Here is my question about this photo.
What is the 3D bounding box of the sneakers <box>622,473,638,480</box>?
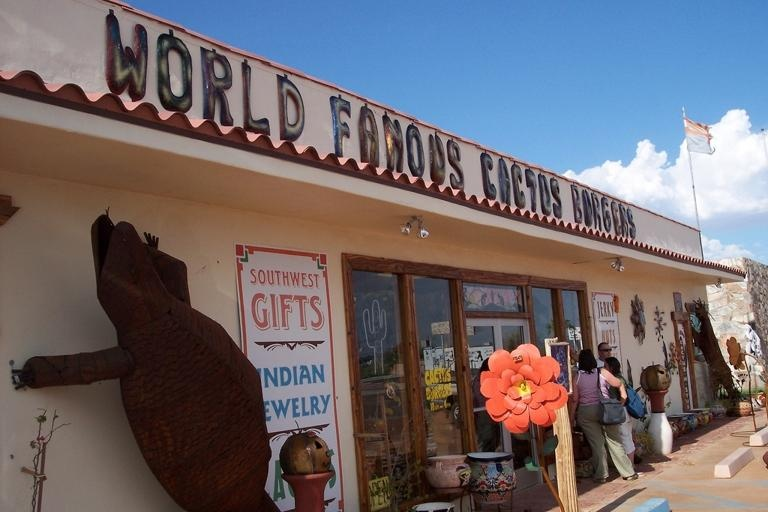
[{"bbox_3d":[4.172,3.704,9.857,0.105,0.106,0.233,-8,-18,38],"label":"sneakers"}]

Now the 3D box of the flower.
[{"bbox_3d":[1.383,1.310,5.832,0.808,0.856,0.344,-11,-14,15],"label":"flower"}]

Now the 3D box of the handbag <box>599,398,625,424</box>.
[{"bbox_3d":[3.864,2.631,9.937,0.366,0.389,0.140,5,-23,-20],"label":"handbag"}]

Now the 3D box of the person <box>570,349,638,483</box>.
[{"bbox_3d":[3.785,2.719,10.298,0.829,2.374,0.660,-7,5,30],"label":"person"}]

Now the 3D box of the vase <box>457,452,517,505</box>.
[{"bbox_3d":[1.450,3.037,8.290,0.744,0.767,0.795,-5,-10,17],"label":"vase"}]

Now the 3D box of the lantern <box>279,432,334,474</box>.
[{"bbox_3d":[-0.808,2.051,6.090,0.415,0.441,0.428,-21,-26,39],"label":"lantern"}]
